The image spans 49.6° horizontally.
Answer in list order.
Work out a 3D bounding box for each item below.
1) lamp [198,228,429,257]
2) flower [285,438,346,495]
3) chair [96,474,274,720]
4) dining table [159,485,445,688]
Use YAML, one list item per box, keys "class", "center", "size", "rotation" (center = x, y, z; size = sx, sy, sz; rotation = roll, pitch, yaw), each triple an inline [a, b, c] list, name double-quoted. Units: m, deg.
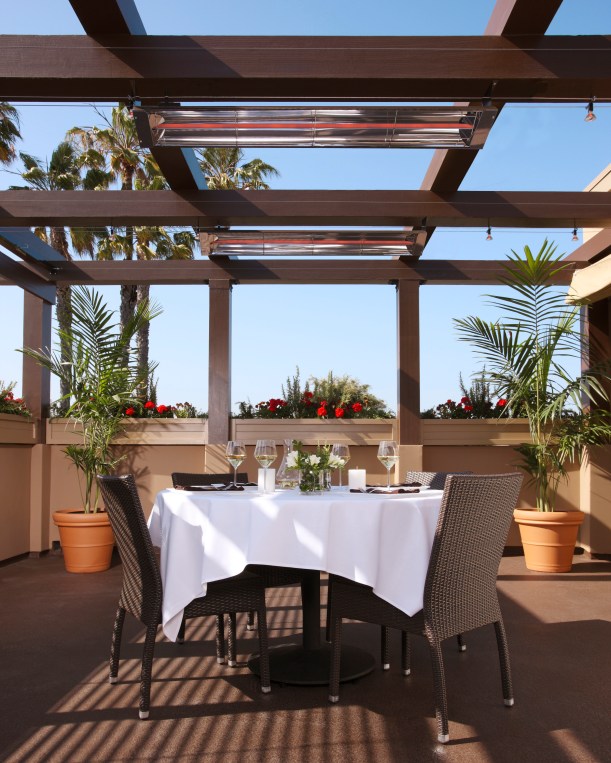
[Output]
- class: "lamp"
  center: [0.064, -1.071, 5.113]
  size: [1.770, 0.131, 0.444]
  rotation: [0, -6, -2]
- class: "flower"
  center: [0.048, 0.345, 2.809]
  size: [0.256, 0.234, 0.226]
  rotation: [3, -15, -11]
- class: "chair"
  center: [-0.429, 0.795, 2.940]
  size: [0.935, 1.287, 0.705]
  rotation: [1, -4, -18]
- class: "dining table"
  center: [0.026, 0.706, 2.894]
  size: [1.352, 0.515, 1.387]
  rotation: [-3, -4, -16]
